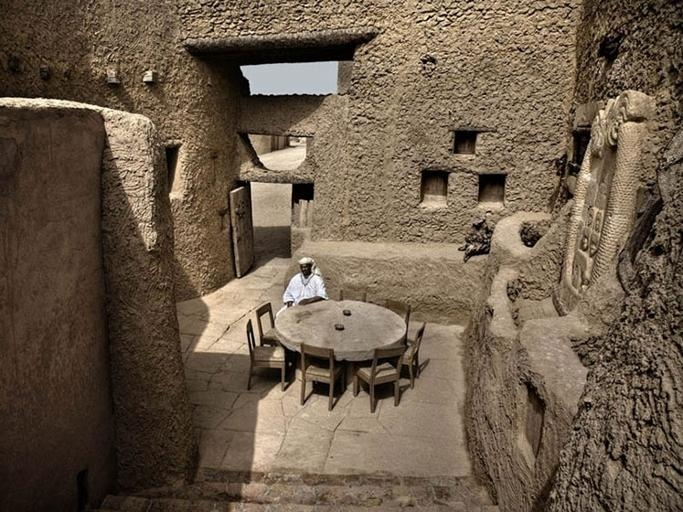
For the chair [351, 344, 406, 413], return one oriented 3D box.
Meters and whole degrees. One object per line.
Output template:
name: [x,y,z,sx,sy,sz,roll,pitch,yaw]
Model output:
chair: [0.446,1.372,7.347,0.575,0.775,0.551,0,13,-8]
